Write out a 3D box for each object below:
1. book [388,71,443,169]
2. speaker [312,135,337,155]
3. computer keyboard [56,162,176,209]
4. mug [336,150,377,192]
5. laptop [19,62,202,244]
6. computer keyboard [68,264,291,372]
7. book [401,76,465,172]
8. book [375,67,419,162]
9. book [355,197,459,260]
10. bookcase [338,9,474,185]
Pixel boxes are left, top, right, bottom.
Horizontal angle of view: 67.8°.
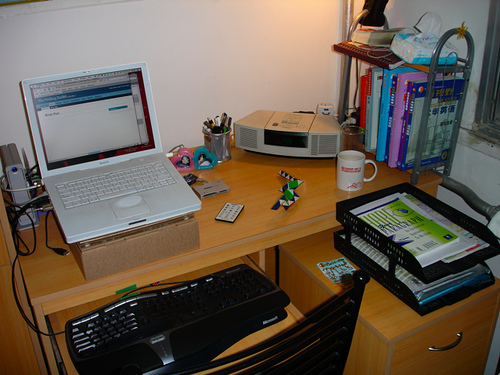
[{"bbox_3d":[0.666,-0.283,1.480,0.047,0.354,0.315,23,32,39],"label":"book"},{"bbox_3d":[0.326,-0.188,1.663,0.133,0.111,0.068,2,28,6],"label":"speaker"},{"bbox_3d":[-0.458,-0.010,1.261,0.328,0.022,0.131,-16,44,-24],"label":"computer keyboard"},{"bbox_3d":[0.381,-0.075,1.488,0.190,0.144,0.119,-1,31,-5],"label":"mug"},{"bbox_3d":[-0.511,-0.118,1.414,0.585,0.456,0.656,-19,49,-26],"label":"laptop"},{"bbox_3d":[-0.202,0.408,1.146,0.654,0.107,0.269,-15,29,-18],"label":"computer keyboard"},{"bbox_3d":[0.721,-0.266,1.477,0.328,0.438,0.062,-12,29,-21],"label":"book"},{"bbox_3d":[0.606,-0.310,1.514,0.049,0.360,0.320,15,26,32],"label":"book"},{"bbox_3d":[0.534,0.135,1.319,0.247,0.034,0.280,-15,41,-20],"label":"book"},{"bbox_3d":[0.655,-0.355,1.518,0.259,0.659,0.550,-15,35,-22],"label":"bookcase"}]
